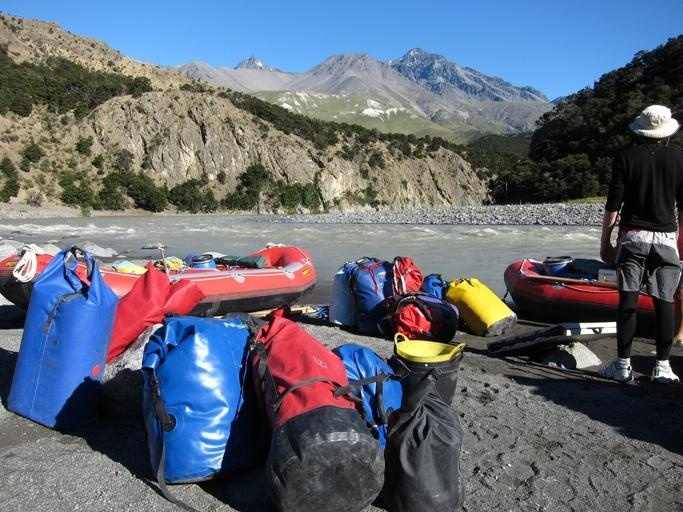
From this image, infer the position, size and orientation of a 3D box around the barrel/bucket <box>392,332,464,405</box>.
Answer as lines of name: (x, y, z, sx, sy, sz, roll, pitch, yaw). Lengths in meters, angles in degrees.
barrel/bucket: (0.631, 0.817, 3.641, 0.668, 0.513, 0.572, 2, -10, -1)

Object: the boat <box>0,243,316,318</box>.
boat: (-2.034, 0.268, 6.294, 3.553, 0.901, 1.643, 0, 3, -35)

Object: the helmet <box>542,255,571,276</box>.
helmet: (2.938, 0.136, 6.792, 0.341, 0.200, 0.319, -2, -1, -27)

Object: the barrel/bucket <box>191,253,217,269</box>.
barrel/bucket: (-1.998, 0.069, 7.061, 0.281, 0.164, 0.259, -1, 3, 0)

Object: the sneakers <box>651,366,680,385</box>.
sneakers: (2.727, 1.007, 4.111, 0.262, 0.096, 0.127, 2, -4, -36)

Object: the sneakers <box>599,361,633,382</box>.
sneakers: (2.387, 0.996, 4.211, 0.148, 0.139, 0.346, 0, -3, -2)

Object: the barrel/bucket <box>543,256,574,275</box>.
barrel/bucket: (2.981, 0.121, 6.723, 0.324, 0.182, 0.314, -2, 1, 0)
